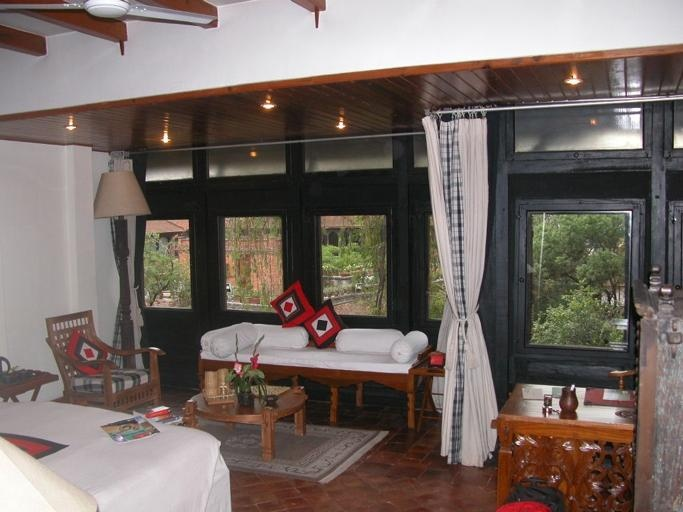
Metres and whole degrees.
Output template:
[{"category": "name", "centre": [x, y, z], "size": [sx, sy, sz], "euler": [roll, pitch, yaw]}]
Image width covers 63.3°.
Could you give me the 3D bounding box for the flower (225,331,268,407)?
[{"category": "flower", "centre": [-0.970, 1.184, 5.861], "size": [0.638, 0.677, 0.624], "euler": [13, -18, -10]}]

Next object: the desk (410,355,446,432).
[{"category": "desk", "centre": [1.026, 1.527, 6.566], "size": [0.345, 0.925, 1.022], "euler": [0, 4, 9]}]

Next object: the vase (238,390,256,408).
[{"category": "vase", "centre": [-0.974, 1.474, 5.729], "size": [0.168, 0.121, 0.167], "euler": [2, 5, 20]}]

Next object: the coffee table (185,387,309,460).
[{"category": "coffee table", "centre": [-0.826, 1.606, 5.745], "size": [0.852, 0.340, 0.845], "euler": [0, -2, 17]}]

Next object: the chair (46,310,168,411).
[{"category": "chair", "centre": [-2.770, 1.222, 6.428], "size": [1.107, 1.056, 0.810], "euler": [1, 5, 27]}]
